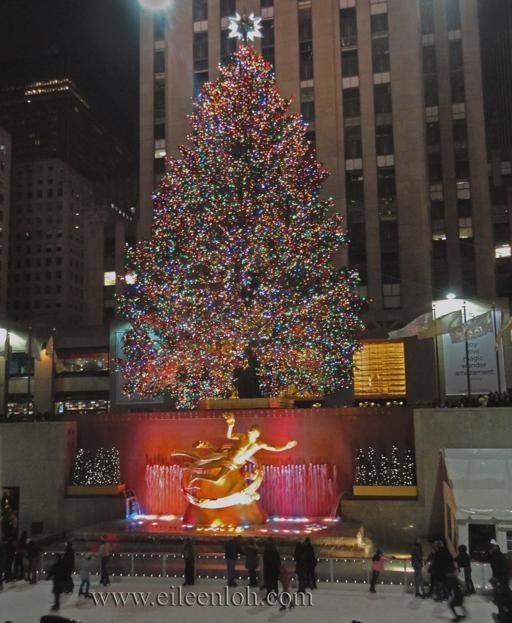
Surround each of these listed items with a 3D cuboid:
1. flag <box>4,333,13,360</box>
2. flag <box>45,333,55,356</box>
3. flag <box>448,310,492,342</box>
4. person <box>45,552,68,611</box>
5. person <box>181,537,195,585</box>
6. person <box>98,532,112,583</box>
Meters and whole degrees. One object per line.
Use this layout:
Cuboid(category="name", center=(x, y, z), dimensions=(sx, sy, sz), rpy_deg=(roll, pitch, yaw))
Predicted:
Cuboid(category="flag", center=(-11.087, 1.535, 33.336), dimensions=(0.293, 1.343, 3.105), rpy_deg=(1, -9, -19))
Cuboid(category="flag", center=(-8.851, 1.447, 32.101), dimensions=(0.290, 1.092, 3.475), rpy_deg=(0, -9, -17))
Cuboid(category="flag", center=(7.744, 0.527, 27.113), dimensions=(1.488, 1.075, 0.264), rpy_deg=(-20, -34, 6))
Cuboid(category="person", center=(-4.188, 5.697, 15.805), dimensions=(0.338, 0.996, 1.228), rpy_deg=(0, -9, -14))
Cuboid(category="person", center=(-1.543, 5.772, 17.304), dimensions=(0.263, 1.016, 0.461), rpy_deg=(-1, -9, -7))
Cuboid(category="person", center=(-3.639, 5.983, 18.073), dimensions=(0.265, 1.044, 1.175), rpy_deg=(-1, -9, -11))
